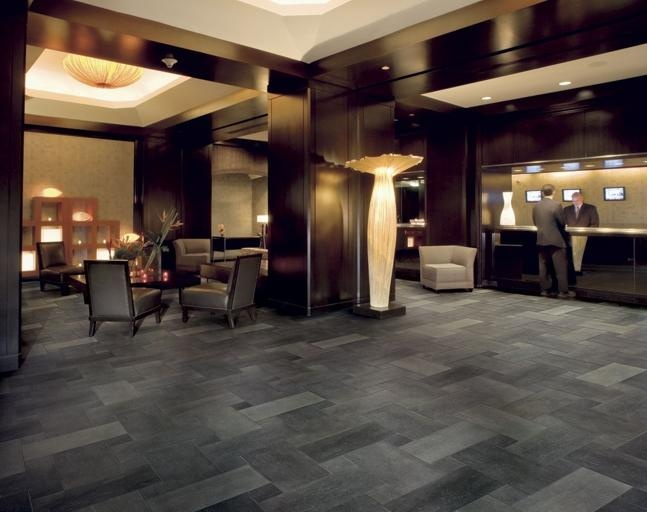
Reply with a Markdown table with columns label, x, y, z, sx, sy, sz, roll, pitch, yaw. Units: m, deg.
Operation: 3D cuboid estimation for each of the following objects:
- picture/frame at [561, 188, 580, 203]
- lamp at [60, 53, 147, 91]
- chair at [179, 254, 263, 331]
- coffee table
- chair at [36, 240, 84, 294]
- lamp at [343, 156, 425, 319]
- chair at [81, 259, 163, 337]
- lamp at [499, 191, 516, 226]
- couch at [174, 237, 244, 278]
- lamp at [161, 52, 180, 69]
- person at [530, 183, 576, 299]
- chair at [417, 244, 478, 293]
| label | x | y | z | sx | sy | sz | roll | pitch | yaw |
| --- | --- | --- | --- | --- | --- | --- | --- | --- | --- |
| picture/frame | 5.147 | -1.268 | 9.549 | 0.056 | 0.277 | 0.407 | 3 | -2 | -18 |
| lamp | -3.750 | -3.069 | 7.822 | 1.259 | 0.408 | 1.221 | 6 | 14 | 1 |
| chair | -1.485 | 0.450 | 6.474 | 0.998 | 0.854 | 0.819 | -1 | 7 | -4 |
| coffee table | -1.428 | 0.421 | 6.498 | 0.946 | 0.769 | 0.705 | 2 | 2 | 25 |
| chair | -4.979 | 0.193 | 8.776 | 0.824 | 0.847 | 0.662 | 7 | 11 | 18 |
| lamp | 0.835 | -0.257 | 6.632 | 0.891 | 2.351 | 0.452 | 1 | 10 | 5 |
| chair | -2.591 | 0.499 | 6.027 | 0.665 | 0.899 | 0.762 | 0 | 5 | 11 |
| lamp | 3.751 | -0.971 | 9.388 | 0.276 | 0.672 | 0.544 | 2 | 10 | 15 |
| couch | -3.189 | 0.070 | 11.359 | 1.077 | 1.057 | 1.100 | 2 | 2 | 43 |
| lamp | -2.007 | -2.568 | 5.981 | 0.141 | 0.114 | 0.136 | -1 | 6 | -14 |
| person | 4.101 | -0.140 | 8.219 | 0.311 | 1.765 | 0.712 | -6 | 11 | -31 |
| chair | 2.413 | 0.245 | 9.021 | 0.794 | 0.850 | 0.778 | -2 | 9 | -11 |
